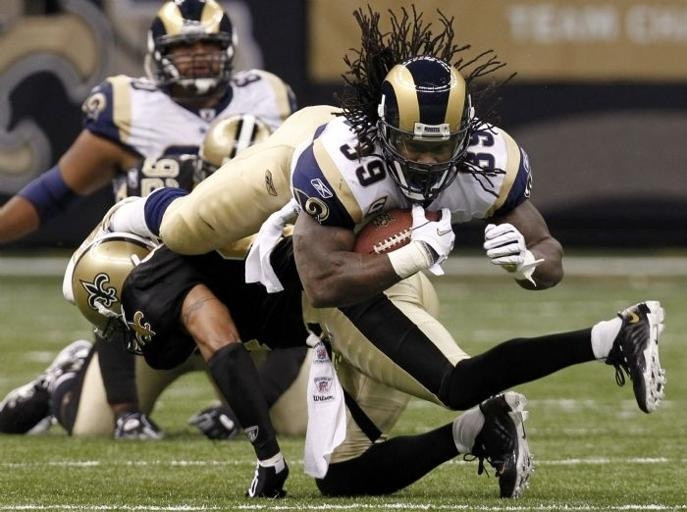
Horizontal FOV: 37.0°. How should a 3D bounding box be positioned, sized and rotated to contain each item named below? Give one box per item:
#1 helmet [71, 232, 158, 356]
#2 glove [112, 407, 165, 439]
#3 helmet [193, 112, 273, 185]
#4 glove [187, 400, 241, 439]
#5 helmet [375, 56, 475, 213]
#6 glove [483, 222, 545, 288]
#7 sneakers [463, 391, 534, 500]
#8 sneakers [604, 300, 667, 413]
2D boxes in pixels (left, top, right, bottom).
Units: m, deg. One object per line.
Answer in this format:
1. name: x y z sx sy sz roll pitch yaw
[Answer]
1. helmet: -1.010 0.114 4.287 0.378 0.479 0.357 7 18 -19
2. glove: -0.976 0.809 4.905 0.271 0.115 0.102 1 1 10
3. helmet: -0.524 -0.525 4.962 0.290 0.334 0.315 13 -33 -17
4. glove: -0.605 0.783 4.873 0.196 0.076 0.150 -15 9 46
5. helmet: 0.270 -0.438 3.611 0.350 0.476 0.476 -1 30 -7
6. glove: 0.589 0.001 3.596 0.095 0.155 0.224 -36 -38 23
7. sneakers: 0.567 0.680 3.760 0.231 0.452 0.156 -8 13 9
8. sneakers: 0.975 0.365 3.462 0.190 0.430 0.282 2 18 16
